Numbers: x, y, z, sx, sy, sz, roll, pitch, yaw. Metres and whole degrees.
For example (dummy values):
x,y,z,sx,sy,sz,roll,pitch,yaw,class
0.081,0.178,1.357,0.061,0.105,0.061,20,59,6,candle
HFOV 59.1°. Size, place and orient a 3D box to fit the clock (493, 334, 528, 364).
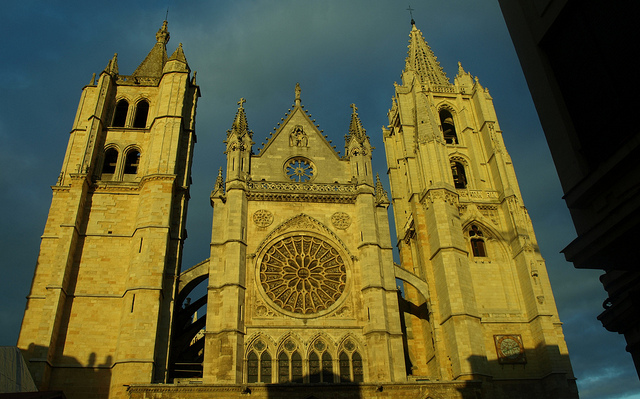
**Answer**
x,y,z,sx,sy,sz,roll,pitch,yaw,class
11.698,9.309,35.105,1.942,1.894,0.217,1,-38,-12,clock
